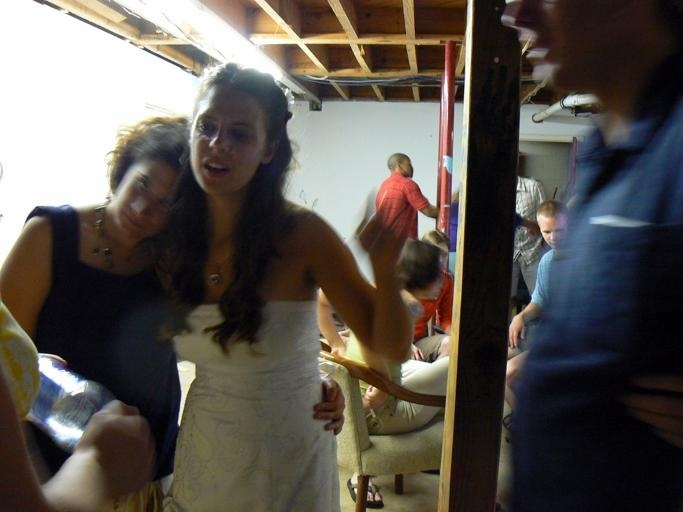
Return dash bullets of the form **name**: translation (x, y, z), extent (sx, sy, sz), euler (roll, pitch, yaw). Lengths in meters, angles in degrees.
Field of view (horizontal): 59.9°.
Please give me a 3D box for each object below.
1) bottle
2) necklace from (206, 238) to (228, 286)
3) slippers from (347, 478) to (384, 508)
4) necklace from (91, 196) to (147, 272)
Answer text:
- **bottle**: translation (-0.568, 0.307, 1.205), extent (0.257, 0.113, 0.110), euler (30, -13, 17)
- **necklace**: translation (-0.342, 0.022, 1.692), extent (0.038, 0.114, 0.081), euler (3, -18, 4)
- **slippers**: translation (0.117, 1.253, 3.198), extent (0.101, 0.074, 0.293), euler (0, -3, -14)
- **necklace**: translation (-0.669, -0.056, 1.720), extent (0.045, 0.164, 0.112), euler (-8, -19, 25)
